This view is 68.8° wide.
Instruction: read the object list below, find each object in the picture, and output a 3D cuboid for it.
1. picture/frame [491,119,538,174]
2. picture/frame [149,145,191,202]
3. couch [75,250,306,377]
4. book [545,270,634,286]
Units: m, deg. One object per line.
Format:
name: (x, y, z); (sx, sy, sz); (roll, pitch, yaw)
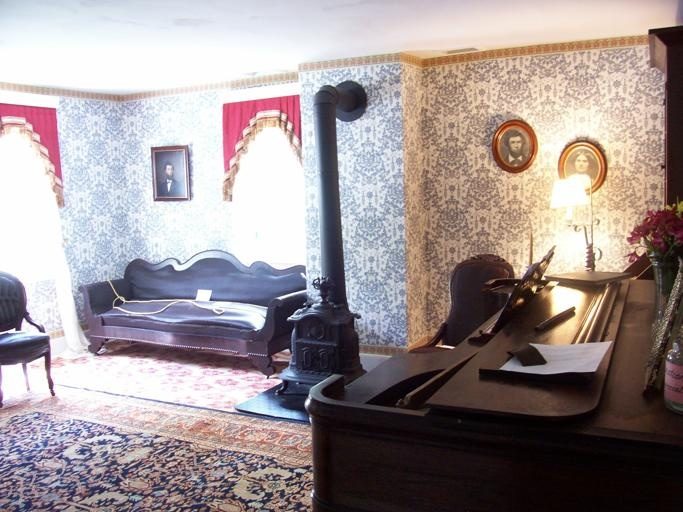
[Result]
picture/frame: (1.873, -1.188, 5.348); (0.628, 0.756, 0.103); (1, 5, 27)
picture/frame: (-2.365, -1.167, 6.932); (0.846, 0.908, 0.070); (0, 2, 19)
couch: (-1.787, 0.596, 6.209); (2.831, 1.223, 1.002); (1, 8, 22)
book: (1.490, 0.138, 3.045); (0.443, 0.051, 0.331); (3, 8, 33)
